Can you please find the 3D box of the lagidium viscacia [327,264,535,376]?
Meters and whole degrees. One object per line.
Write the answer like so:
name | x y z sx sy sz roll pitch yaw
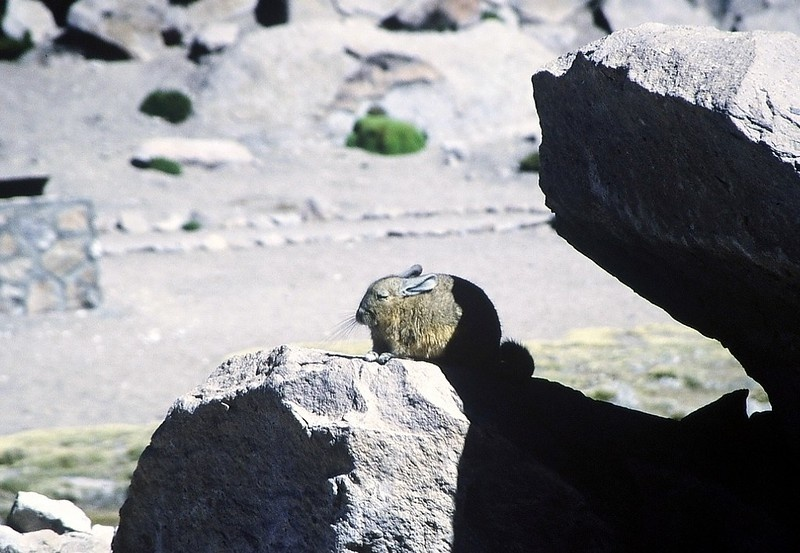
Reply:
lagidium viscacia | 0.669 0.648 26.869 2.484 1.272 1.559 7 -1 -7
